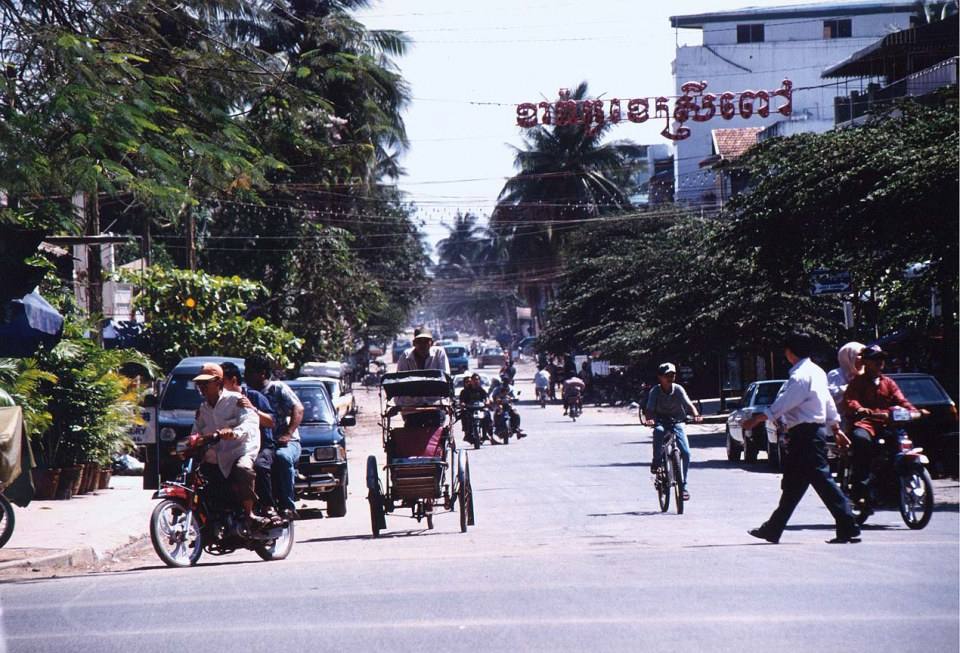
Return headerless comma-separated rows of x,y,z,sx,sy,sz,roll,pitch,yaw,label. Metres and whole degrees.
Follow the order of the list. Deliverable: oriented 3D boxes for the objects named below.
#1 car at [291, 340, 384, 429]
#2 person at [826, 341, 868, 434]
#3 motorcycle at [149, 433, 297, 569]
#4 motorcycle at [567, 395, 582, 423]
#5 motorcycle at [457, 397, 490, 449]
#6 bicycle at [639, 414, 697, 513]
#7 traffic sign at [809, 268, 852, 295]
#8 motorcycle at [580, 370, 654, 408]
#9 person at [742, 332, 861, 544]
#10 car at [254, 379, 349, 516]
-4.312,1.398,39.011,1.822,2.033,4.011,-1,-5,3,car
5.784,0.907,21.496,0.477,1.448,0.975,1,-2,1,person
-3.626,2.617,19.229,1.971,1.418,1.140,10,-13,-36,motorcycle
3.155,2.713,47.379,0.397,0.550,0.784,2,1,6,motorcycle
0.004,2.416,38.673,1.022,1.368,2.188,-4,9,6,motorcycle
3.081,2.303,22.806,0.520,1.427,0.712,-1,-2,-1,bicycle
7.657,-0.999,30.694,0.843,0.491,0.800,-3,-3,15,traffic sign
5.755,2.694,59.718,1.490,1.877,3.022,-5,-2,-44,motorcycle
4.663,1.548,19.667,1.465,3.177,1.176,0,0,39,person
-3.237,1.823,25.391,1.415,1.807,3.457,2,10,-6,car
